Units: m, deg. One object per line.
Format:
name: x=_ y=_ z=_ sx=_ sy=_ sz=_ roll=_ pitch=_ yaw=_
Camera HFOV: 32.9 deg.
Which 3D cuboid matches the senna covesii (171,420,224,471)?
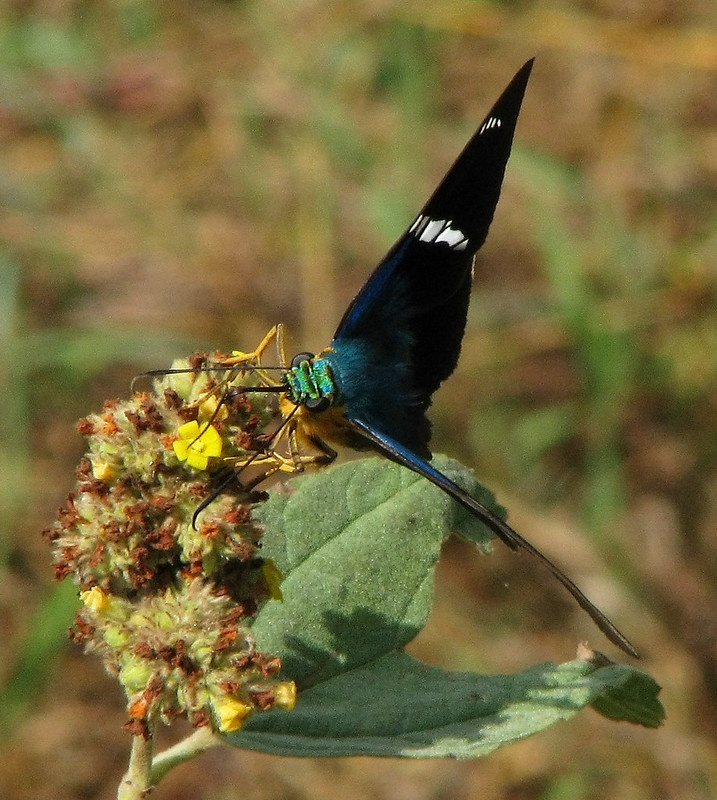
senna covesii: x=-0.636 y=0.173 z=4.743 sx=0.219 sy=0.091 sz=0.184 roll=30 pitch=77 yaw=-11
